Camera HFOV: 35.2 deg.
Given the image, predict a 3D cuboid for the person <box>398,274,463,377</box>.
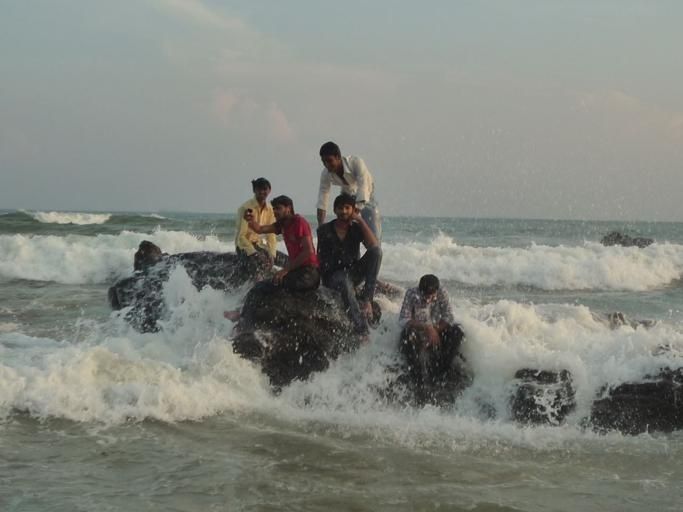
[{"bbox_3d":[1.484,1.187,17.979,1.060,1.674,0.761,-2,14,1],"label":"person"}]
